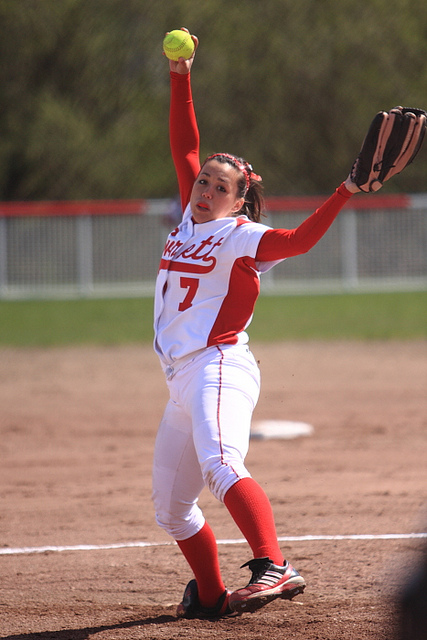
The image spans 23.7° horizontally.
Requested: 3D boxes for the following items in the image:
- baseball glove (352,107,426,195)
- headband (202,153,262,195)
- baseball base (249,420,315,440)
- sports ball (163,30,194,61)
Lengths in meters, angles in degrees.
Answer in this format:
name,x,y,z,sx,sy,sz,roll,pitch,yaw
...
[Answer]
name,x,y,z,sx,sy,sz,roll,pitch,yaw
baseball glove,0.610,-0.603,3.612,0.233,0.318,0.119,24,17,-9
headband,0.079,-0.553,3.868,0.261,0.152,0.189,-6,10,-25
baseball base,0.425,0.656,6.217,0.388,0.049,0.563,-1,8,3
sports ball,-0.132,-1.086,4.094,0.130,0.111,0.123,-4,0,0
